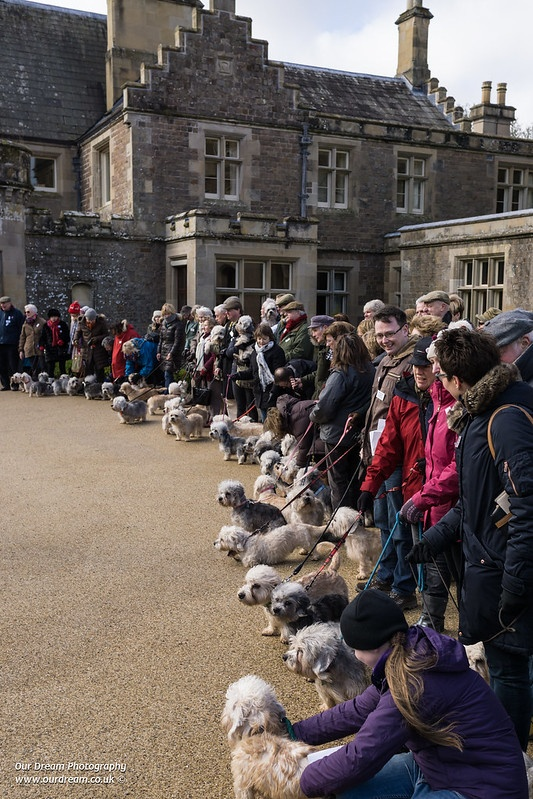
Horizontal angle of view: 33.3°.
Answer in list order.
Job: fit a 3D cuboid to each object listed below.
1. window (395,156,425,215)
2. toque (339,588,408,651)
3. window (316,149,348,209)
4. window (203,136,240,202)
[{"bbox_3d":[3.873,-5.829,24.078,1.370,1.646,0.266,-8,23,-23],"label":"window"},{"bbox_3d":[0.374,0.764,3.116,0.224,0.205,0.171,-9,-2,30],"label":"toque"},{"bbox_3d":[1.670,-5.703,22.811,1.389,1.646,0.201,-11,21,-40],"label":"window"},{"bbox_3d":[-1.083,-5.450,20.926,1.317,1.640,0.208,-10,19,-35],"label":"window"}]
